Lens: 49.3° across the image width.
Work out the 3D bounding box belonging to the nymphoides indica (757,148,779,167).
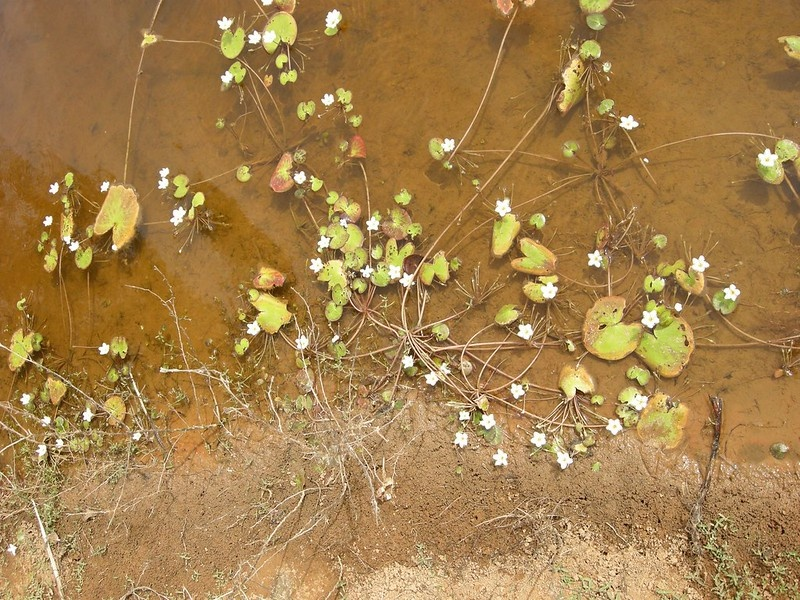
[{"bbox_3d":[4.304,-1.665,10.167,0.173,0.073,0.223,-7,78,8],"label":"nymphoides indica"}]
